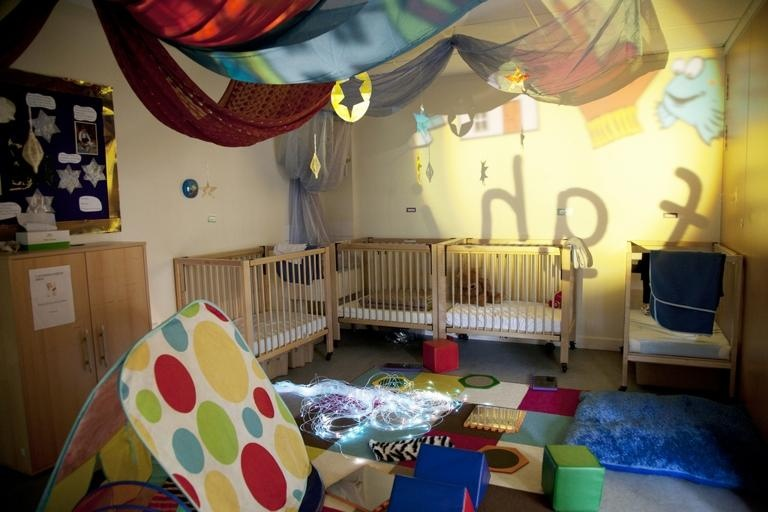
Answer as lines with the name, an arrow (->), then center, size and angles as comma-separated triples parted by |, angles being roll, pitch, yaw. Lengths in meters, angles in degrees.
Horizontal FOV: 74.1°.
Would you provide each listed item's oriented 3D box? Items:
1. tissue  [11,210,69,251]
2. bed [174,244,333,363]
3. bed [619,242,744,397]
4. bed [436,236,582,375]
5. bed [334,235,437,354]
tissue  -> -2.610, -0.162, 3.975 | 0.264, 0.415, 0.445 | -1, 3, 30
bed -> -1.403, 0.526, 5.400 | 1.536, 1.390, 1.167 | 4, -14, -37
bed -> 2.762, 0.444, 5.093 | 0.932, 1.172, 1.572 | 4, 11, 25
bed -> 1.404, 0.512, 5.701 | 1.280, 1.174, 0.999 | 1, 3, 13
bed -> 0.055, 0.343, 6.093 | 1.213, 1.129, 0.969 | 0, 9, 1
